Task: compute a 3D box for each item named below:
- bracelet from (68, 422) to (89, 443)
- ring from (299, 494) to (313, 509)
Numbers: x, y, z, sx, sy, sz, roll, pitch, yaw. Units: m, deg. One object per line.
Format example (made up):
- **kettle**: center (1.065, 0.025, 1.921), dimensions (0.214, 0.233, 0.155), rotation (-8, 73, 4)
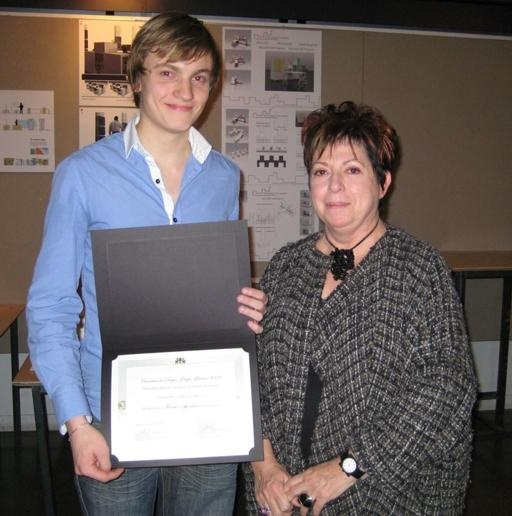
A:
- **bracelet**: center (-0.397, 0.385, 1.165), dimensions (0.052, 0.041, 0.033), rotation (-2, 7, -9)
- **ring**: center (0.123, 0.591, 1.271), dimensions (0.026, 0.032, 0.036), rotation (-6, 21, -21)
